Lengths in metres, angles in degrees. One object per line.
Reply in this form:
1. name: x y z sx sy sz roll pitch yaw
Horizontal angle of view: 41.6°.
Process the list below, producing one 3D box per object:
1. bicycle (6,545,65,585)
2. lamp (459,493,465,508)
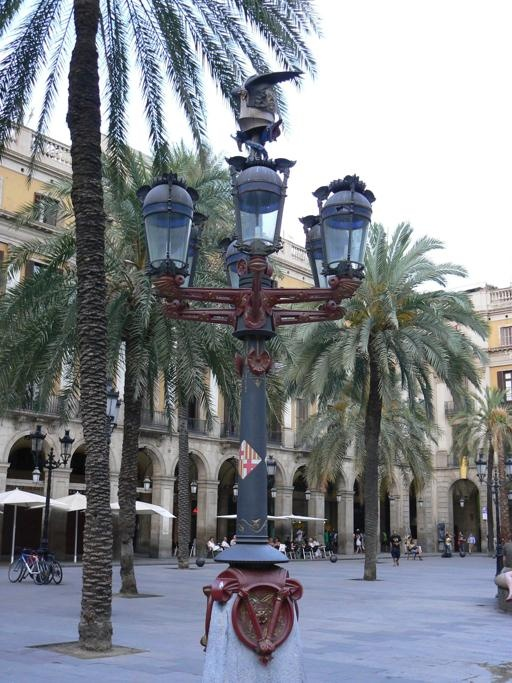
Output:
1. bicycle: -6.196 6.388 18.962 1.143 0.971 2.010 10 -15 -40
2. lamp: 17.254 13.619 56.520 0.371 1.118 1.168 -1 -12 6
